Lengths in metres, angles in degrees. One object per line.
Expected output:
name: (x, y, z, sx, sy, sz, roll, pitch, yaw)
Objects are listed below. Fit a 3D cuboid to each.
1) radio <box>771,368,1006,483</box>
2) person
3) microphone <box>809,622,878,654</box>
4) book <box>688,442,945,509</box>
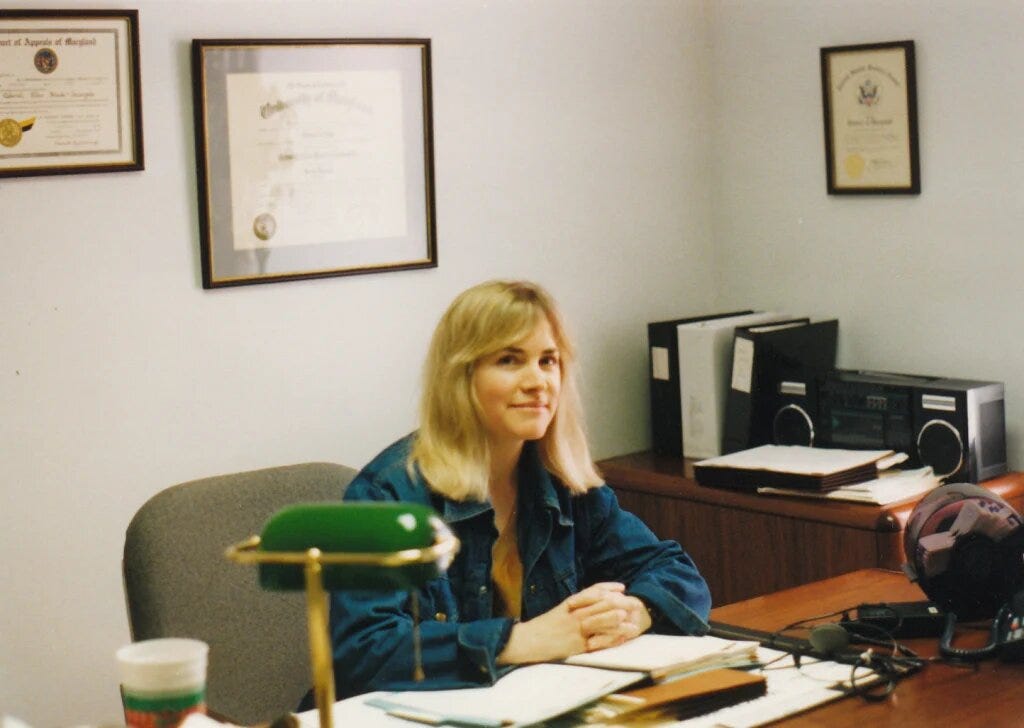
radio: (1.223, 0.170, 2.900, 0.917, 0.417, 0.300, 5, 5, 44)
person: (-0.007, 0.284, 1.895, 0.627, 0.901, 0.616, 2, 13, -24)
microphone: (0.614, 0.507, 1.705, 0.080, 0.028, 0.063, 2, 11, -41)
book: (0.943, 0.336, 2.851, 0.656, 0.189, 0.358, 14, 15, 43)
